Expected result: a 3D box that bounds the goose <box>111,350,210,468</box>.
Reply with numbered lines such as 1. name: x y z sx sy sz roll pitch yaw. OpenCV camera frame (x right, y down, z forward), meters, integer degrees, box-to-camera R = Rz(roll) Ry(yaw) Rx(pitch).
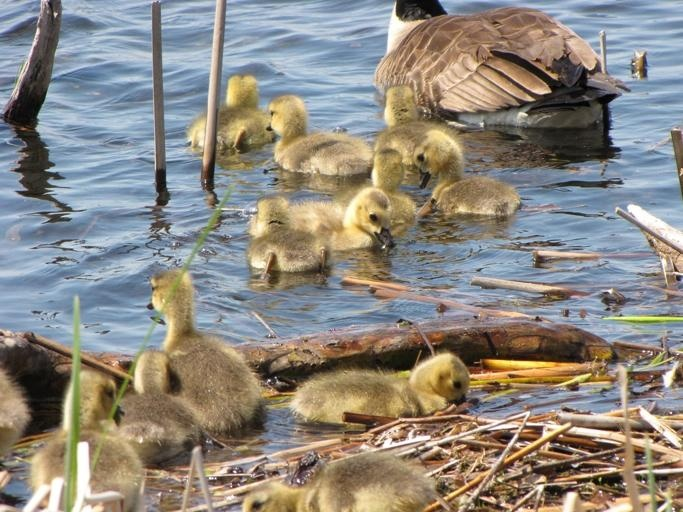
1. goose: -1.168 1.004 6.491 0.761 0.788 0.394 -3 -27 -4
